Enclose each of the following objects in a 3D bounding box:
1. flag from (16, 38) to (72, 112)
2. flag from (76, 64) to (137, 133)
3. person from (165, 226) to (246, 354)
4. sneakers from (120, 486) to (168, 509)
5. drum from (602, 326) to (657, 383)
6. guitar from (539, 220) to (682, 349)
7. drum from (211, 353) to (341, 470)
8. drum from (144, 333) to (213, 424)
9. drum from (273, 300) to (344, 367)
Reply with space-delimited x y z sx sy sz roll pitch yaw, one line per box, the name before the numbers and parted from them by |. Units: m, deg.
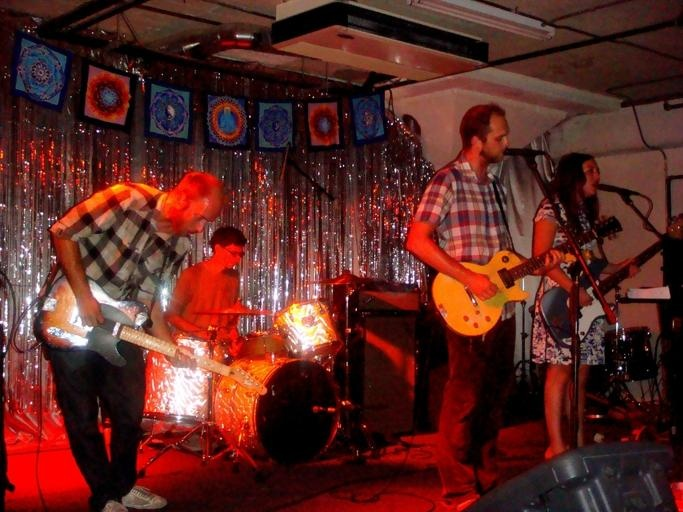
flag | -2.533 -1.526 5.108 0.041 0.625 0.575 8 -1 38
flag | -2.114 -1.447 5.477 0.533 0.509 0.509 10 -5 -44
person | -1.113 0.318 5.023 0.628 1.126 0.569 8 2 -18
sneakers | -1.166 1.420 3.593 0.273 0.112 0.104 7 19 -27
drum | 2.967 0.842 6.274 0.453 0.648 0.606 -3 31 31
guitar | 1.990 0.228 4.395 1.480 0.451 0.147 -40 18 -20
drum | -0.482 0.990 4.281 0.729 0.765 0.765 -5 4 -39
drum | -1.139 0.829 4.207 0.552 0.599 0.569 2 -9 -11
drum | -0.275 0.607 4.495 0.498 0.206 0.634 10 39 -1
